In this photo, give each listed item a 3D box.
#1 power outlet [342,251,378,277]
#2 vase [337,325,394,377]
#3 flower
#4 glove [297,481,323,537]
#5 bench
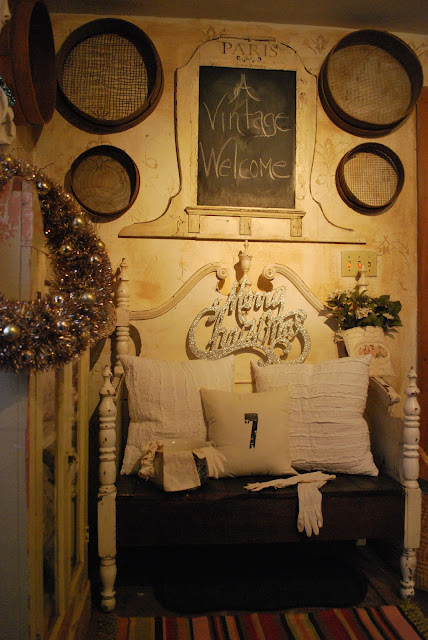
[{"bbox_3d":[0.669,-0.265,3.220,0.119,0.088,0.013,1,1,-2],"label":"power outlet"},{"bbox_3d":[0.681,0.134,3.079,0.248,0.241,0.178,-4,-6,7],"label":"vase"},{"bbox_3d":[0.675,-0.040,3.202,0.250,0.166,0.243,-1,38,-2],"label":"flower"},{"bbox_3d":[0.348,0.680,2.507,0.099,0.171,0.046,-2,-3,-2],"label":"glove"},{"bbox_3d":[0.152,0.336,3.145,1.377,1.273,1.308,0,3,-6],"label":"bench"}]
